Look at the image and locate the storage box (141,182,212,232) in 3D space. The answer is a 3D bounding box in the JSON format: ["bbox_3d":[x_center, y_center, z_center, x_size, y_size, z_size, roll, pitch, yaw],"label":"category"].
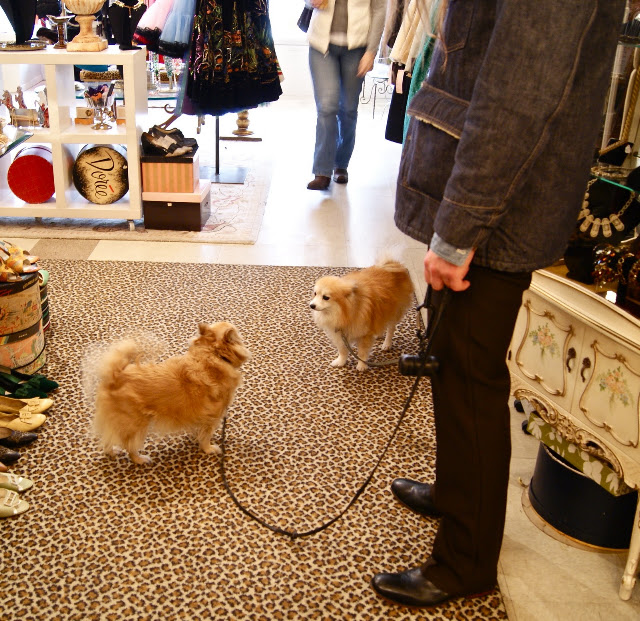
[{"bbox_3d":[-1.004,-0.682,3.750,0.389,0.223,0.370,2,21,4],"label":"storage box"}]

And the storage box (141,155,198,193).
[{"bbox_3d":[-1.011,-0.901,3.638,0.288,0.168,0.271,-1,21,-4],"label":"storage box"}]

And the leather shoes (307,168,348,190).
[{"bbox_3d":[0.068,-1.160,4.850,0.388,0.157,0.123,-13,42,-5],"label":"leather shoes"}]

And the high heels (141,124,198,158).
[{"bbox_3d":[-1.000,-1.117,3.617,0.351,0.126,0.191,-8,35,-20],"label":"high heels"}]

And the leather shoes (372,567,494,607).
[{"bbox_3d":[0.287,0.716,1.451,0.326,0.085,0.122,-2,16,6],"label":"leather shoes"}]

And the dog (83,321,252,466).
[{"bbox_3d":[-0.499,0.283,1.849,0.548,0.404,0.257,-6,14,-35],"label":"dog"}]

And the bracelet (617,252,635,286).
[{"bbox_3d":[0.903,-0.125,1.605,0.045,0.072,0.057,18,-6,-16],"label":"bracelet"}]
